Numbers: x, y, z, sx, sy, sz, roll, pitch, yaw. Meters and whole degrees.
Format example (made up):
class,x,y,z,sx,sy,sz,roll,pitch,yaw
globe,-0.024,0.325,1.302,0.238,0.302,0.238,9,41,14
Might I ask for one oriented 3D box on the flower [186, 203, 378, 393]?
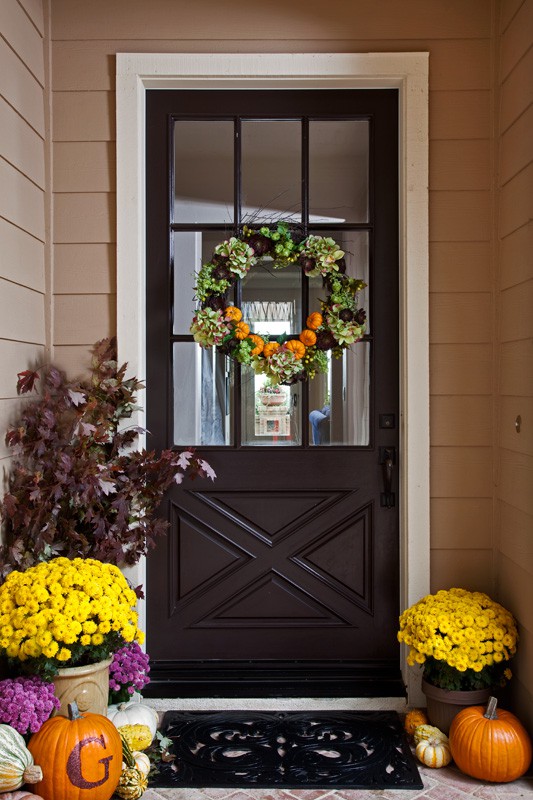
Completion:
class,x,y,z,sx,sy,sz,roll,pitch,yaw
flower,0.067,-0.398,2.694,0.680,0.701,0.170,4,-1,2

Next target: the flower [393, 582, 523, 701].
class,x,y,z,sx,sy,sz,roll,pitch,yaw
flower,0.606,0.818,2.395,0.331,0.257,0.353,-3,0,-4

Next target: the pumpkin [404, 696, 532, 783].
class,x,y,z,sx,sy,sz,roll,pitch,yaw
pumpkin,0.636,1.046,2.249,0.340,0.200,0.209,-9,-9,37

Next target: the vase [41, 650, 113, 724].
class,x,y,z,sx,sy,sz,roll,pitch,yaw
vase,-0.553,0.834,2.079,0.164,0.128,0.163,1,1,12

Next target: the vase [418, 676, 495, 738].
class,x,y,z,sx,sy,sz,roll,pitch,yaw
vase,0.622,0.977,2.312,0.163,0.128,0.168,2,-3,8
